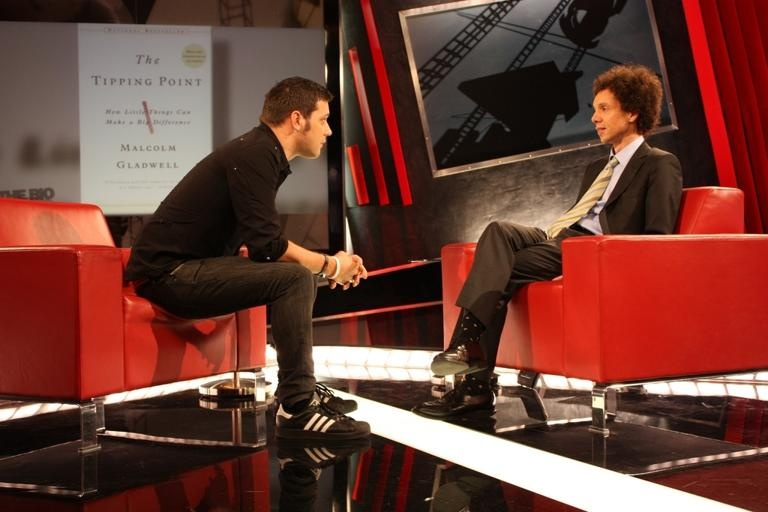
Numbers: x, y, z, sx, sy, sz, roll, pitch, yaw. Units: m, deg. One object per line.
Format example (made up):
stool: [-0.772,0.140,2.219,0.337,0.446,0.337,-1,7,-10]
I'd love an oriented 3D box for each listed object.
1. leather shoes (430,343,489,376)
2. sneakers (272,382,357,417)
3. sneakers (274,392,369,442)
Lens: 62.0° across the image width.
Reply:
leather shoes: [0.343,0.477,2.939,0.151,0.085,0.207,-5,0,38]
sneakers: [-0.254,0.636,2.827,0.252,0.098,0.101,0,7,-38]
sneakers: [-0.265,0.714,2.803,0.465,0.193,0.162,1,-2,-4]
